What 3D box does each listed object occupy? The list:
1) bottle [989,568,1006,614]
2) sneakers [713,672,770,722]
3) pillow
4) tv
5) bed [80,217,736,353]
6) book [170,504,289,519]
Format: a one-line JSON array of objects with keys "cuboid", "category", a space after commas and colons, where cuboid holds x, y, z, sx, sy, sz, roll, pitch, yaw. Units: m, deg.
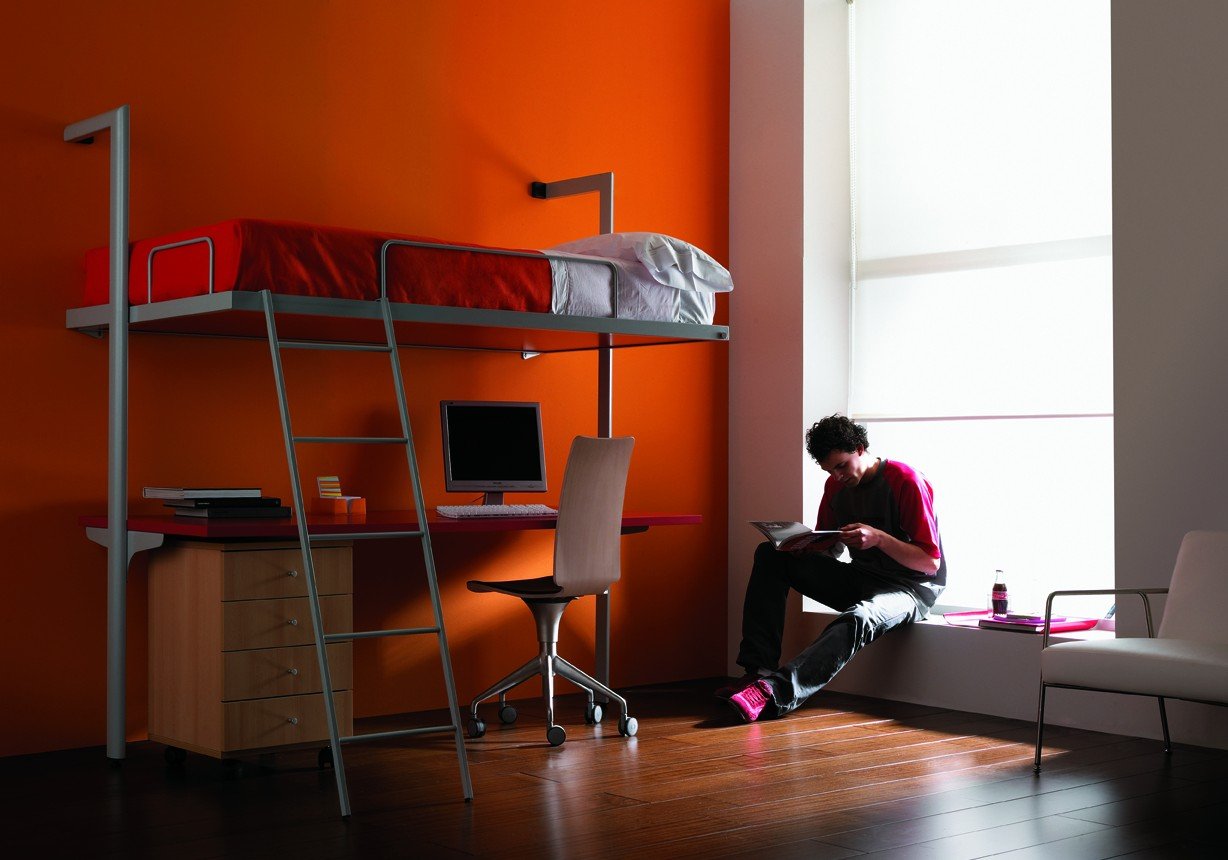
[{"cuboid": [1.968, 0.825, 5.450, 0.063, 0.196, 0.389, 0, -1, 20], "category": "bottle"}, {"cuboid": [0.618, 1.284, 5.050, 0.253, 0.204, 0.212, 0, -1, 10], "category": "sneakers"}, {"cuboid": [0.221, -0.796, 4.970, 0.503, 0.145, 0.380, 9, 4, -33], "category": "pillow"}, {"cuboid": [-0.617, 0.095, 5.264, 0.520, 0.518, 0.182, 2, -7, -28], "category": "tv"}, {"cuboid": [-0.889, -0.679, 4.730, 2.629, 0.542, 0.989, 1, -1, -32], "category": "bed"}, {"cuboid": [-1.521, 0.325, 4.214, 0.439, 0.058, 0.182, 1, -1, -12], "category": "book"}]
